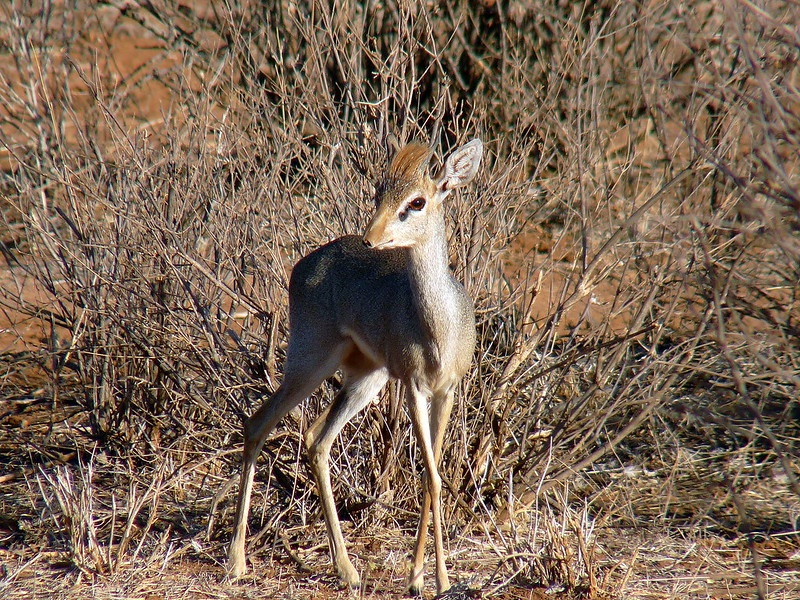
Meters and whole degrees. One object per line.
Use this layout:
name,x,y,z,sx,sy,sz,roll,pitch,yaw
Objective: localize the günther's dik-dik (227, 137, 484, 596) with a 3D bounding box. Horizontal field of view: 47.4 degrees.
günther's dik-dik,-0.194,0.397,5.488,1.333,2.803,0.654,9,10,21
